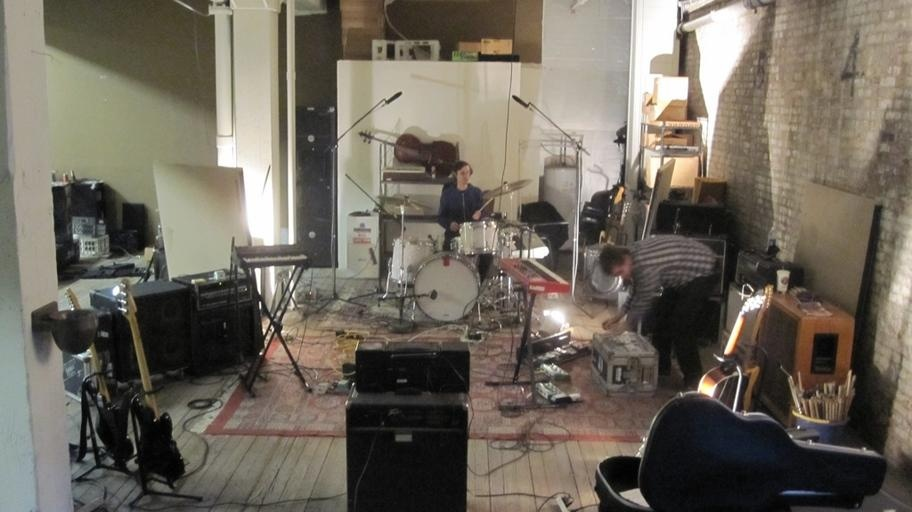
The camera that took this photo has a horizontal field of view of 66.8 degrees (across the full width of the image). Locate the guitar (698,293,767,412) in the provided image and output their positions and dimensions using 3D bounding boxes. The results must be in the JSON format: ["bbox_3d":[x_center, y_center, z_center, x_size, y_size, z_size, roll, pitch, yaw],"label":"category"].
[{"bbox_3d":[3.170,1.134,7.894,0.591,1.512,1.360,3,12,31],"label":"guitar"}]

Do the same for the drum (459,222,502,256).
[{"bbox_3d":[0.357,-0.254,10.182,0.521,0.366,0.516,0,-1,0],"label":"drum"}]

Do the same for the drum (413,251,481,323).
[{"bbox_3d":[-0.133,0.412,10.095,1.037,0.973,0.417,-4,9,0],"label":"drum"}]

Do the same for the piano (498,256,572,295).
[{"bbox_3d":[0.943,0.233,8.549,0.564,0.193,1.145,0,15,-18],"label":"piano"}]

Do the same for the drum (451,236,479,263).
[{"bbox_3d":[0.115,-0.113,10.347,0.436,0.377,0.413,1,2,-3],"label":"drum"}]

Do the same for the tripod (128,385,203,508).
[{"bbox_3d":[-3.102,1.969,7.142,0.613,1.089,0.466,-7,12,-17],"label":"tripod"}]

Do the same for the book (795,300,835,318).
[{"bbox_3d":[4.111,0.596,7.907,0.329,0.129,0.263,-2,10,6],"label":"book"}]

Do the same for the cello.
[{"bbox_3d":[-0.797,-1.914,12.425,1.907,0.734,0.304,15,-8,-7],"label":"cello"}]
